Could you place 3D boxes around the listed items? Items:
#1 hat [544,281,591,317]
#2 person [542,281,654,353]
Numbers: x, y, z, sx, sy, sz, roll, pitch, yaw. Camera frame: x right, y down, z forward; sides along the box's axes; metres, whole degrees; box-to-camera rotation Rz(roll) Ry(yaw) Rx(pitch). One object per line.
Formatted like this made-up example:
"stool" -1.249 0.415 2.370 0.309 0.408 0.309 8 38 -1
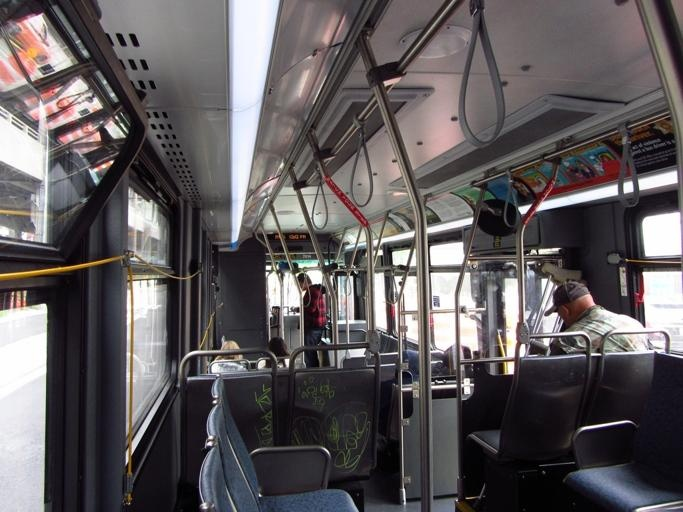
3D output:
"hat" 2.158 0.351 4.733 0.272 0.242 0.422 -14 -20 -34
"person" 2.214 0.571 4.331 0.645 0.425 0.934 1 5 -16
